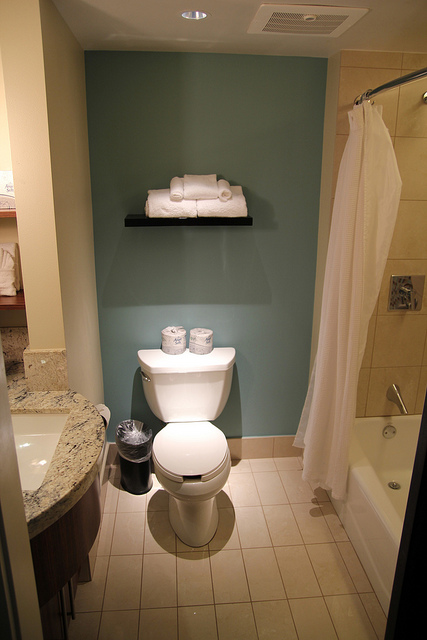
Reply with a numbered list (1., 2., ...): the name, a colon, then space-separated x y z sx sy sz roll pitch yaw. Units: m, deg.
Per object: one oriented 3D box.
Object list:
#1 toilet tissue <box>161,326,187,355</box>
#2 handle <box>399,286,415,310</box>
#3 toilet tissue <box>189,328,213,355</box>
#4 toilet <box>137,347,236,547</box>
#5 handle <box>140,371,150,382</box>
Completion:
1. toilet tissue: -0.200 0.101 2.370 0.114 0.127 0.113 -4 12 -20
2. handle: 0.953 -0.111 2.313 0.086 0.118 0.005 -2 13 -8
3. toilet tissue: -0.057 0.100 2.360 0.104 0.107 0.113 2 16 -4
4. toilet: -0.088 0.561 2.184 0.485 0.704 0.707 -2 14 -10
5. handle: -0.327 0.267 2.249 0.038 0.043 0.043 -1 6 -6
